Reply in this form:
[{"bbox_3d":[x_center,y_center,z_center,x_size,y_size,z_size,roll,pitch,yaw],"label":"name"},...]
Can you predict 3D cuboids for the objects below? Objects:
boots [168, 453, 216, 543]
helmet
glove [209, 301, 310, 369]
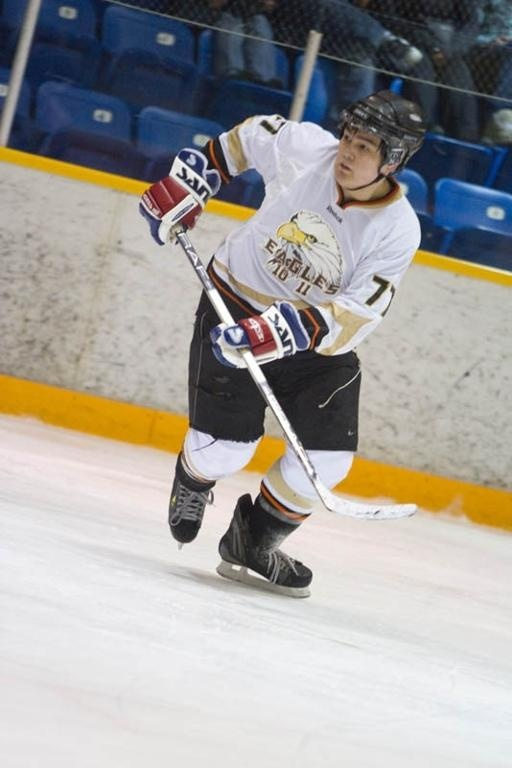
[{"bbox_3d":[-0.159,0.311,2.059,0.097,0.254,0.106,7,-20,-18],"label":"boots"},{"bbox_3d":[0.280,-0.541,1.718,0.192,0.152,0.148,22,23,-19],"label":"helmet"},{"bbox_3d":[0.010,-0.101,1.681,0.225,0.079,0.126,-17,41,-9],"label":"glove"}]
